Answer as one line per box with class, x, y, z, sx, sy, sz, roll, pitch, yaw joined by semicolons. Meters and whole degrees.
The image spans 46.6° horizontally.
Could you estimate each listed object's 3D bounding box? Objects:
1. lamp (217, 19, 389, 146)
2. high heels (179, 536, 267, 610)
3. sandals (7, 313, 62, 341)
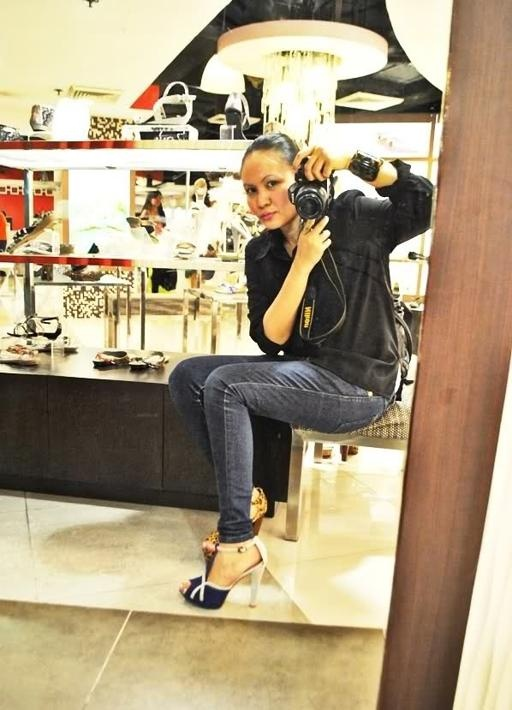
lamp;0.218;-1.251;2.584;0.653;0.442;0.642;3;7;22
high heels;-0.070;0.474;1.323;0.220;0.162;0.117;1;-2;-1
sandals;-0.842;-0.109;2.329;0.155;0.071;0.150;3;9;-4
